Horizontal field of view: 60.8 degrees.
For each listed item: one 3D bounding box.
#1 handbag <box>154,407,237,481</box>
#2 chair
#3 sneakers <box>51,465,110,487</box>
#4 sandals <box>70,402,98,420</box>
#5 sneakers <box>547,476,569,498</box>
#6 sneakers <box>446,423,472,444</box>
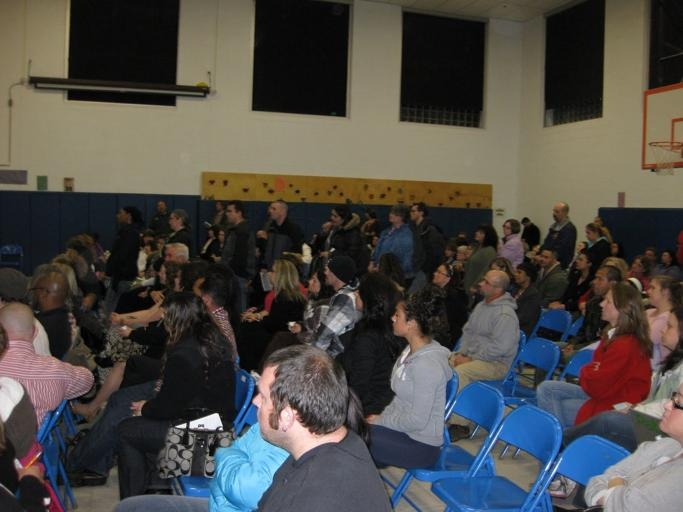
[{"bbox_3d":[-0.882,1.164,3.604,0.412,0.422,0.370,7,-1,-13],"label":"handbag"},{"bbox_3d":[-0.062,1.263,4.542,3.737,0.958,1.421,-1,6,-13],"label":"chair"},{"bbox_3d":[-1.835,1.595,4.194,0.271,0.123,0.091,-2,6,-23],"label":"sneakers"},{"bbox_3d":[-2.017,1.205,4.541,0.190,0.131,0.207,-2,-24,23],"label":"sandals"},{"bbox_3d":[1.501,1.594,4.040,0.134,0.135,0.143,2,6,15],"label":"sneakers"},{"bbox_3d":[1.005,1.521,5.070,0.215,0.103,0.261,1,5,2],"label":"sneakers"}]
